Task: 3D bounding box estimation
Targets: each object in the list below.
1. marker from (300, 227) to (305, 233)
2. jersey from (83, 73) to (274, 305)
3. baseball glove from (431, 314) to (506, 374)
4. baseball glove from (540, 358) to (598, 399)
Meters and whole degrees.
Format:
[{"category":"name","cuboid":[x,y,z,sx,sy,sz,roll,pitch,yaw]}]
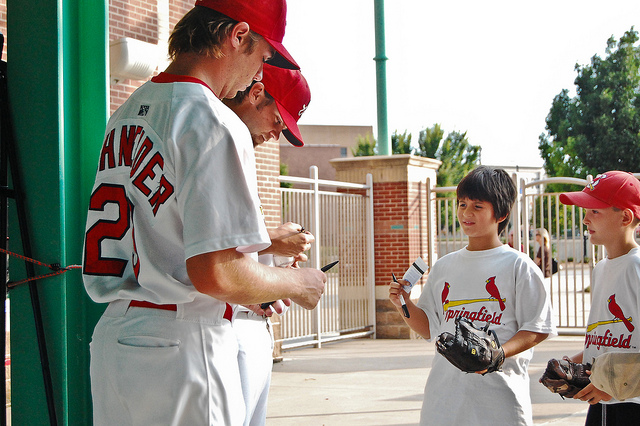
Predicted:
[{"category":"marker","cuboid":[-0.107,0.112,4.330,0.016,0.028,0.025,7,20,14]},{"category":"jersey","cuboid":[-0.827,-0.062,3.667,1.239,1.223,0.643,6,4,35]},{"category":"baseball glove","cuboid":[0.938,0.825,4.430,0.406,0.353,0.450,-3,-3,14]},{"category":"baseball glove","cuboid":[1.493,0.995,4.322,0.271,0.236,0.128,-18,9,-16]}]
